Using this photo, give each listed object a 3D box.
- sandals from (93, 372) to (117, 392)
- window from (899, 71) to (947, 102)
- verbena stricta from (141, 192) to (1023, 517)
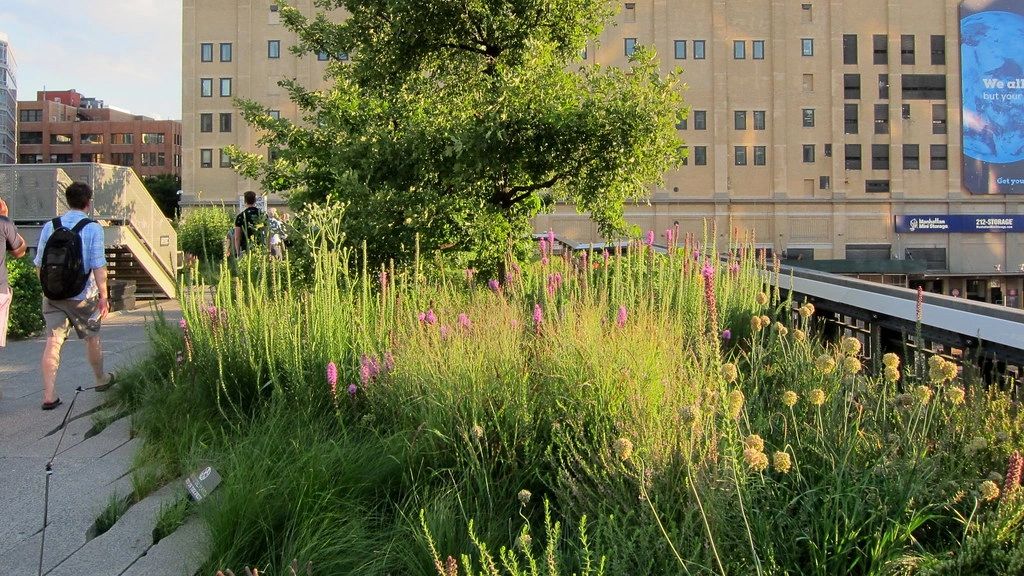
[{"bbox_3d":[-7.636,1.780,17.396,0.183,0.201,0.525,8,38,-1],"label":"sandals"},{"bbox_3d":[25.528,-12.293,56.480,2.845,1.587,1.805,-5,6,-9],"label":"window"},{"bbox_3d":[0.951,1.314,15.261,13.492,5.464,3.742,0,7,10],"label":"verbena stricta"}]
